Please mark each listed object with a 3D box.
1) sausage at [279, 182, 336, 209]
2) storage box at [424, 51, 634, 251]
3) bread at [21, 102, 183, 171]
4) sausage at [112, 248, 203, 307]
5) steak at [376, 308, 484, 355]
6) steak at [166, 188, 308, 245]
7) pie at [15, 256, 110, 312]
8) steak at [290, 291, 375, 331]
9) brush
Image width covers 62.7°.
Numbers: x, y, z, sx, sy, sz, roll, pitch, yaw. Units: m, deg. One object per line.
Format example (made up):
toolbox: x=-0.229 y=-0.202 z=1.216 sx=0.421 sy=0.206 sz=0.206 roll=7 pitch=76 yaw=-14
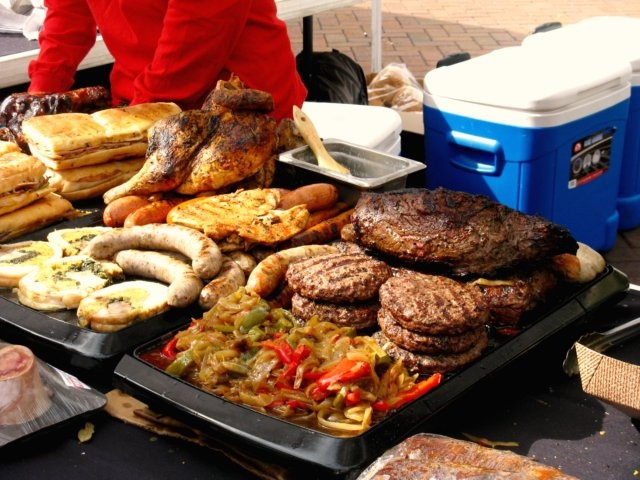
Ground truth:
sausage: x=-0.037 y=-0.173 z=2.072 sx=0.261 sy=0.068 sz=0.090 roll=-8 pitch=17 yaw=-11
storage box: x=1.277 y=-0.435 z=3.214 sx=1.085 sy=1.378 sz=0.836 roll=-26 pitch=42 yaw=-18
bread: x=-0.999 y=-0.498 z=2.498 sx=0.681 sy=0.242 sz=0.302 roll=-22 pitch=37 yaw=-23
sausage: x=-0.538 y=0.106 z=1.768 sx=0.449 sy=0.076 sz=0.206 roll=11 pitch=19 yaw=34
steak: x=0.319 y=0.232 z=1.469 sx=0.214 sy=0.032 sz=0.171 roll=4 pitch=5 yaw=17
steak: x=-0.303 y=-0.080 z=1.978 sx=0.424 sy=0.115 sz=0.422 roll=-15 pitch=17 yaw=-33
pie: x=-0.863 y=0.141 z=1.775 sx=0.256 sy=0.053 sz=0.224 roll=13 pitch=28 yaw=22
steak: x=0.022 y=0.211 z=1.627 sx=0.192 sy=0.080 sz=0.247 roll=9 pitch=15 yaw=39
brush: x=-0.020 y=-0.417 z=2.256 sx=0.313 sy=0.298 sz=0.297 roll=-22 pitch=34 yaw=-35
